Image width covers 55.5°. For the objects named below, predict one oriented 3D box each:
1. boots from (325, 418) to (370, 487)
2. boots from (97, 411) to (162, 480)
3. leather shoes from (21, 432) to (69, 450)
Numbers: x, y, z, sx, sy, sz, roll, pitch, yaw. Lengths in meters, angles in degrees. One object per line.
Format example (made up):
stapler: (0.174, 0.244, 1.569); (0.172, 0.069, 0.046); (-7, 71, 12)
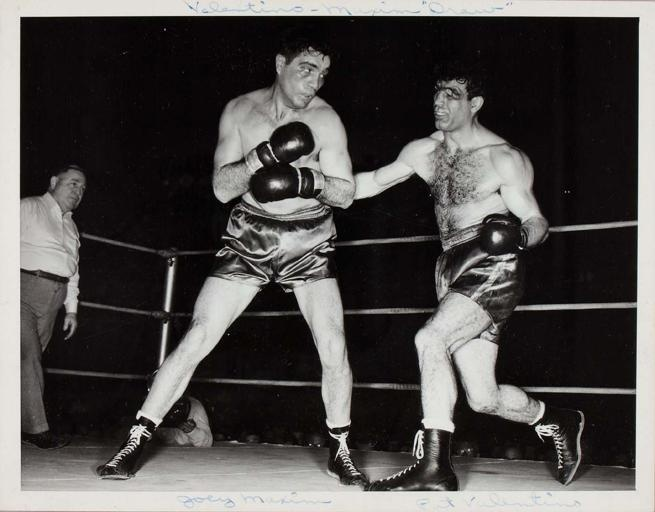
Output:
boots: (0.075, 0.843, 2.603); (0.091, 0.211, 0.277); (0, 2, -23)
boots: (-0.861, 0.790, 2.660); (0.226, 0.251, 0.260); (4, -2, -20)
leather shoes: (-1.326, 0.869, 2.921); (0.196, 0.085, 0.080); (3, -6, -3)
